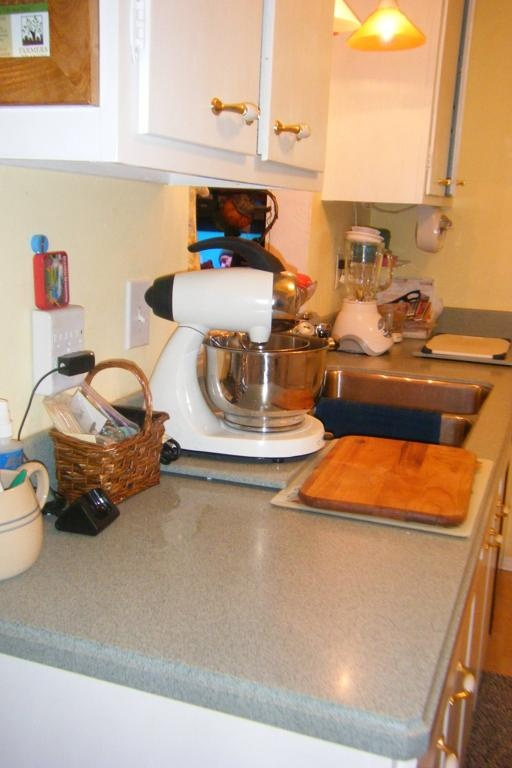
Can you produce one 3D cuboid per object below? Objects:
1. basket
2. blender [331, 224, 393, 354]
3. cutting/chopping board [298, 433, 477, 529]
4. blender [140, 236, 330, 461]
[{"bbox_3d":[-0.182,0.078,0.795,0.127,0.193,0.165,5,22,13],"label":"basket"},{"bbox_3d":[0.338,-0.295,1.845,0.172,0.405,0.285,3,18,12],"label":"blender"},{"bbox_3d":[0.188,0.144,0.845,0.289,0.008,0.322,8,15,22],"label":"cutting/chopping board"},{"bbox_3d":[-0.022,-0.068,0.997,0.251,0.296,0.272,4,18,7],"label":"blender"}]
